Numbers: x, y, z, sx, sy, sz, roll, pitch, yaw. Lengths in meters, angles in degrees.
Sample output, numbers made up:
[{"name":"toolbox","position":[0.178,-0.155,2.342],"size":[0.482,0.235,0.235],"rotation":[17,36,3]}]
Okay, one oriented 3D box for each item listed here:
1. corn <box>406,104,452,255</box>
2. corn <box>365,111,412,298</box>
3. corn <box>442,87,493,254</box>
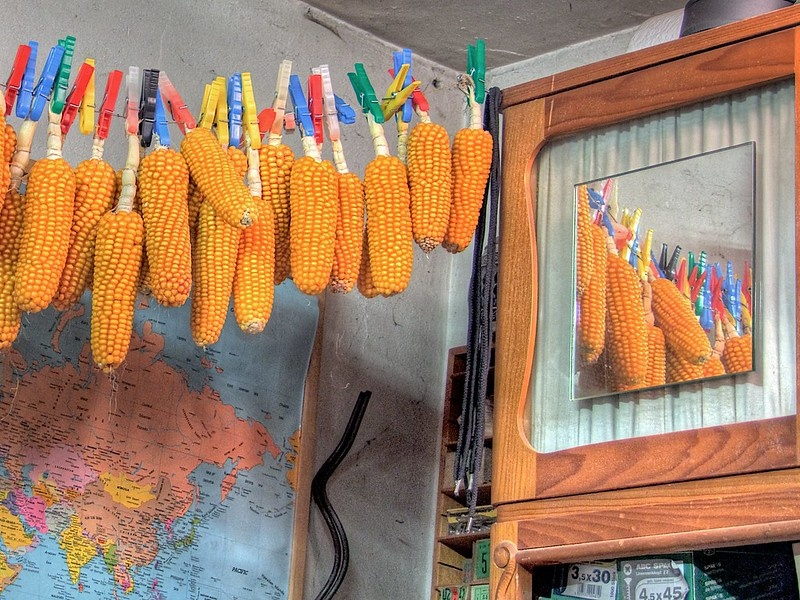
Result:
[{"name":"corn","position":[0.067,-0.274,2.552],"size":[0.086,0.319,0.078],"rotation":[4,-9,-20]},{"name":"corn","position":[-0.021,-0.189,2.499],"size":[0.087,0.361,0.083],"rotation":[3,-16,-41]},{"name":"corn","position":[0.156,-0.299,2.655],"size":[0.093,0.388,0.077],"rotation":[14,-9,-11]}]
